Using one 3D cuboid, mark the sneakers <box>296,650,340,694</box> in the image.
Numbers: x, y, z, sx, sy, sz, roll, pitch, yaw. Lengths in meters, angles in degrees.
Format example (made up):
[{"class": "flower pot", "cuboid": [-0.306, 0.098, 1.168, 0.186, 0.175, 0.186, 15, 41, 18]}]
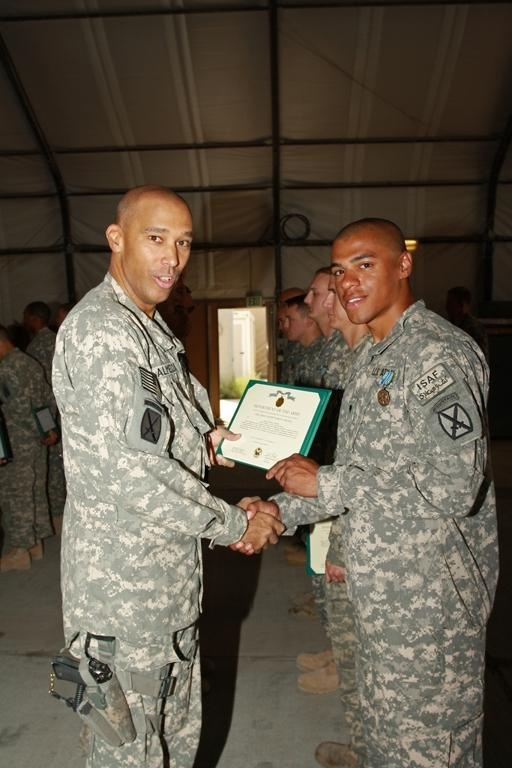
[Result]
[{"class": "sneakers", "cuboid": [0.287, 1.336, 2.941, 0.230, 0.067, 0.236, 4, 5, -4]}]
